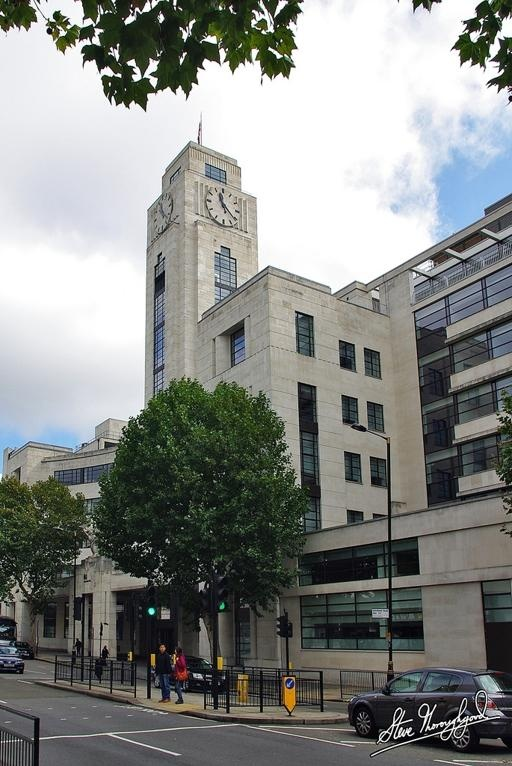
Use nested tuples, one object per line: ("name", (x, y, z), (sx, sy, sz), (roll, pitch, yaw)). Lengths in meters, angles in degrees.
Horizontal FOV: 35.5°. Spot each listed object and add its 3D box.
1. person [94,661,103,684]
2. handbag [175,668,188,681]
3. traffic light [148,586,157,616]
("person", (-5.730, 10.502, 29.267), (0.282, 0.846, 1.366), (2, -16, -11))
("handbag", (-2.188, 8.617, 23.638), (0.528, 0.420, 0.447), (-1, -17, -3))
("traffic light", (-3.184, 6.653, 24.513), (0.257, 0.912, 0.735), (1, -15, -8))
